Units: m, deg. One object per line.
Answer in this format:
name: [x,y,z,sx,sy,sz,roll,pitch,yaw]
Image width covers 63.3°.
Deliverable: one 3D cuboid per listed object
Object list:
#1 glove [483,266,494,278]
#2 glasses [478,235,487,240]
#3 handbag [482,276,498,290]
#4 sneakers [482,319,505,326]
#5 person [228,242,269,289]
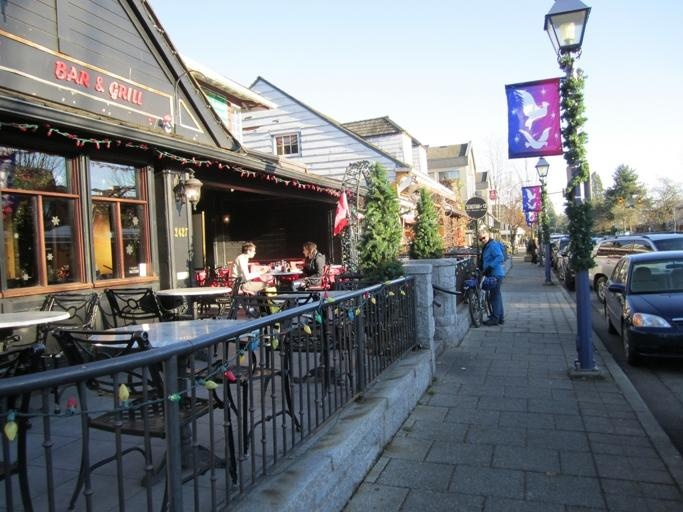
glove: [2.929,0.291,11.022,0.044,0.174,0.184,14,30,-4]
glasses: [2.894,-0.394,11.299,0.093,0.081,0.106,-22,-13,-24]
handbag: [2.951,0.532,11.084,0.317,0.226,0.434,2,-13,1]
sneakers: [3.074,1.338,11.215,0.416,0.180,0.153,3,-4,8]
person: [-2.200,0.170,12.977,0.756,1.294,0.690,-7,20,-13]
